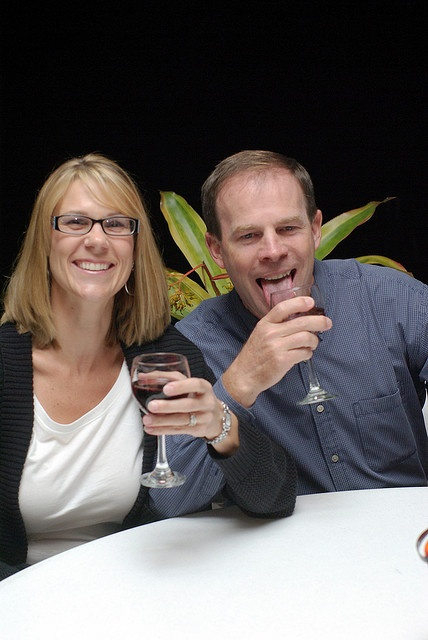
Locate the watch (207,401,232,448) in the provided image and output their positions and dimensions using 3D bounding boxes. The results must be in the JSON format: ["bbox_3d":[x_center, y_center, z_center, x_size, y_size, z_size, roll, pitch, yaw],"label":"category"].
[{"bbox_3d":[0.013,0.224,1.191,0.028,0.080,0.070,15,9,-15],"label":"watch"}]

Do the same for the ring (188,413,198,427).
[{"bbox_3d":[-0.041,0.193,1.073,0.008,0.021,0.017,5,2,32],"label":"ring"}]
